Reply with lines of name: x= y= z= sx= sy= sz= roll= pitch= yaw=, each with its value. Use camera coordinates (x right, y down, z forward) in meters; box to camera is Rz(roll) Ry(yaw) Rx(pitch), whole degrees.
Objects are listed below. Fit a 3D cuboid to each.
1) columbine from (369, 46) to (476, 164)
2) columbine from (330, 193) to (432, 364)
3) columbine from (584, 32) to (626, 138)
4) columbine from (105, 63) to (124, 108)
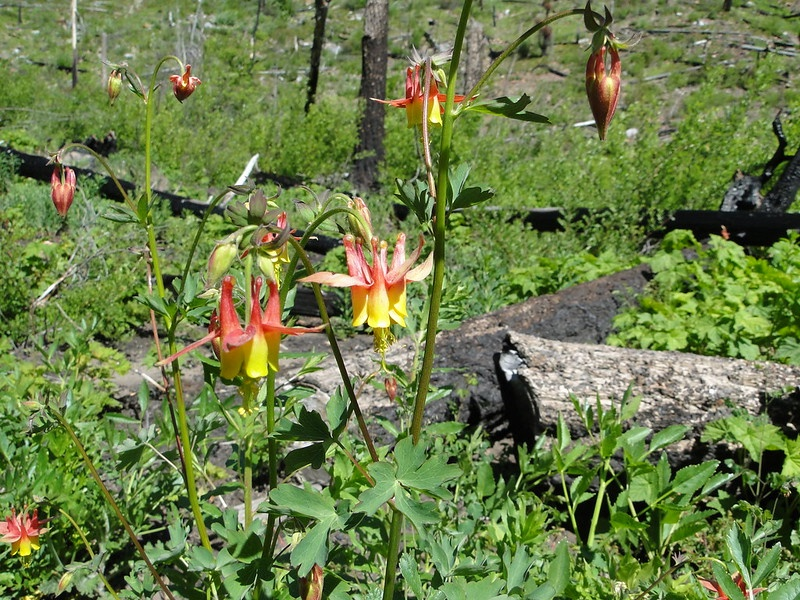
columbine: x=0.167 y=-1.349 z=5.753 sx=0.479 sy=0.388 sz=0.452 roll=-8 pitch=20 yaw=-29
columbine: x=-0.142 y=-0.129 z=5.916 sx=0.857 sy=1.144 sz=0.732 roll=-12 pitch=-5 yaw=6
columbine: x=1.344 y=-1.388 z=5.753 sx=0.230 sy=0.657 sz=0.326 roll=8 pitch=19 yaw=11
columbine: x=-2.129 y=-1.598 z=6.463 sx=0.099 sy=0.326 sz=0.366 roll=-3 pitch=22 yaw=-20
